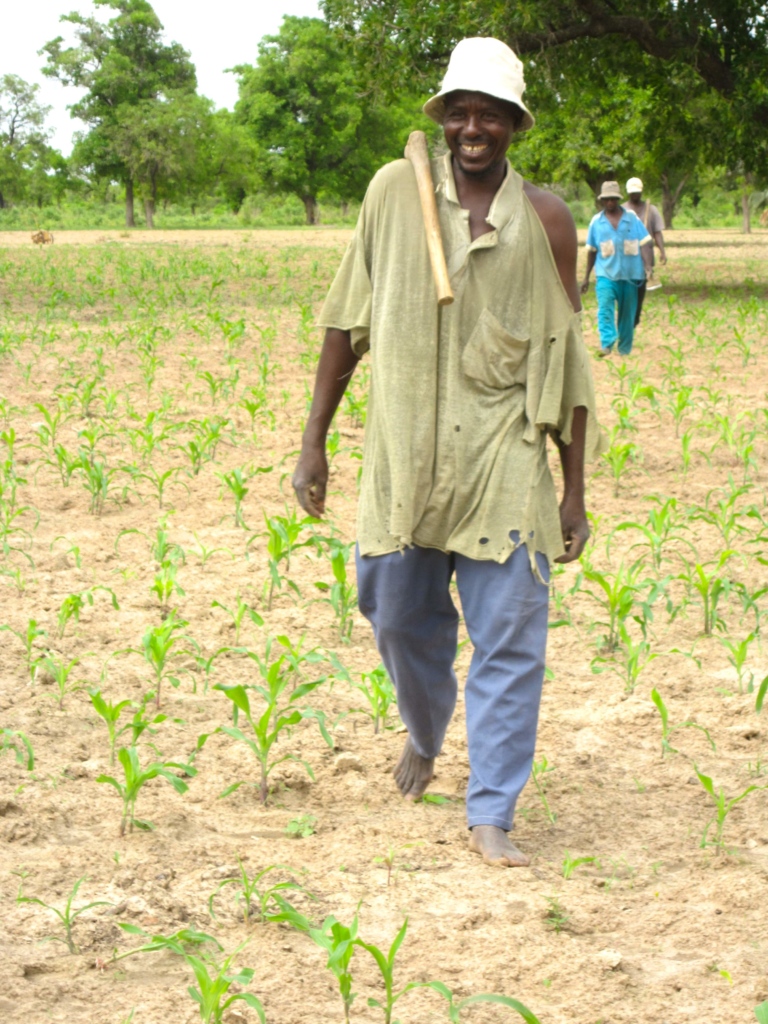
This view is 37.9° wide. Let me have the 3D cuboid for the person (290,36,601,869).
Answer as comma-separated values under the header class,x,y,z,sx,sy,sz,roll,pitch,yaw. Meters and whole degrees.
class,x,y,z,sx,sy,sz,roll,pitch,yaw
person,0.125,-0.132,2.469,0.642,1.736,0.412,2,3,10
